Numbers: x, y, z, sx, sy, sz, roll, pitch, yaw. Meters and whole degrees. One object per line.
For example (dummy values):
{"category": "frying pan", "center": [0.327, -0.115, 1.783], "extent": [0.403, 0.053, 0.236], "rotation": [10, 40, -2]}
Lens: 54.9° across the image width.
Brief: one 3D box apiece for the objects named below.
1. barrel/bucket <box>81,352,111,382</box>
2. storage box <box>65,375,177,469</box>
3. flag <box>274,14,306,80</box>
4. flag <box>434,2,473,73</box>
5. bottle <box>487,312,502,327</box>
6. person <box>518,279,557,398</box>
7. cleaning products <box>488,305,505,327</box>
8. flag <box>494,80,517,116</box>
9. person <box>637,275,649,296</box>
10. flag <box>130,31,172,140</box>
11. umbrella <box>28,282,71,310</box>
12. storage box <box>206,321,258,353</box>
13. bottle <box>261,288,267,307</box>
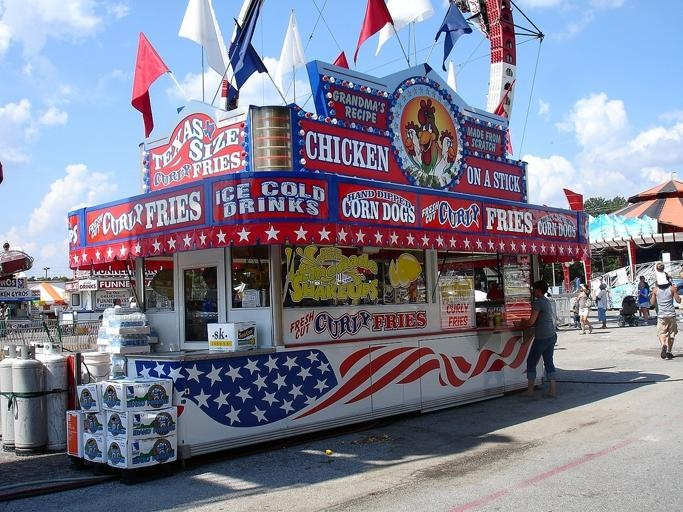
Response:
{"category": "barrel/bucket", "center": [-4.098, 1.864, 11.060], "extent": [0.423, 0.462, 0.450], "rotation": [0, -5, 0]}
{"category": "storage box", "center": [-3.131, 2.316, 9.392], "extent": [1.795, 1.458, 1.067], "rotation": [-2, -1, 44]}
{"category": "flag", "center": [-1.283, -5.253, 16.618], "extent": [0.656, 1.613, 1.084], "rotation": [-1, 0, -4]}
{"category": "flag", "center": [2.536, -5.058, 14.768], "extent": [0.713, 1.798, 2.766], "rotation": [-1, 0, 12]}
{"category": "bottle", "center": [3.209, 1.311, 13.683], "extent": [0.124, 0.310, 0.434], "rotation": [-1, 0, 43]}
{"category": "person", "center": [4.069, 1.665, 13.459], "extent": [0.577, 2.361, 0.905], "rotation": [-1, 0, 16]}
{"category": "cleaning products", "center": [3.249, 1.239, 13.818], "extent": [0.358, 0.734, 0.385], "rotation": [0, 0, 14]}
{"category": "flag", "center": [4.447, -4.326, 17.869], "extent": [0.224, 1.011, 0.810], "rotation": [-1, 0, 44]}
{"category": "person", "center": [12.817, 1.353, 27.893], "extent": [0.414, 1.127, 1.831], "rotation": [-1, 0, 24]}
{"category": "flag", "center": [-3.770, -3.338, 12.871], "extent": [0.560, 1.692, 1.037], "rotation": [-1, 0, -28]}
{"category": "umbrella", "center": [-21.590, 3.026, 48.859], "extent": [2.071, 1.465, 2.088], "rotation": [-2, 9, -28]}
{"category": "storage box", "center": [-1.678, 1.233, 10.099], "extent": [0.502, 0.356, 0.523], "rotation": [1, -4, -16]}
{"category": "bottle", "center": [-1.212, 0.661, 10.473], "extent": [0.143, 0.243, 0.043], "rotation": [-1, 0, 37]}
